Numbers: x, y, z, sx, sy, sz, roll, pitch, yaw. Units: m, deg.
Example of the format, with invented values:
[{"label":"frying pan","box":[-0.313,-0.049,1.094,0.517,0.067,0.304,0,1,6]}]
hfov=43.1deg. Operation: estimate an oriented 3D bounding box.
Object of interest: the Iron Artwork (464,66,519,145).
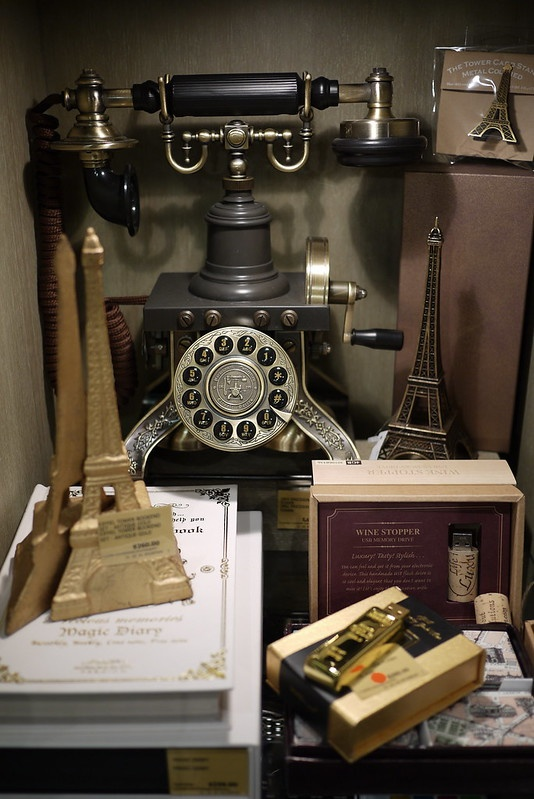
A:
[{"label":"Iron Artwork","box":[0.397,-0.503,1.153,0.087,0.141,0.090,14,3,34]}]
